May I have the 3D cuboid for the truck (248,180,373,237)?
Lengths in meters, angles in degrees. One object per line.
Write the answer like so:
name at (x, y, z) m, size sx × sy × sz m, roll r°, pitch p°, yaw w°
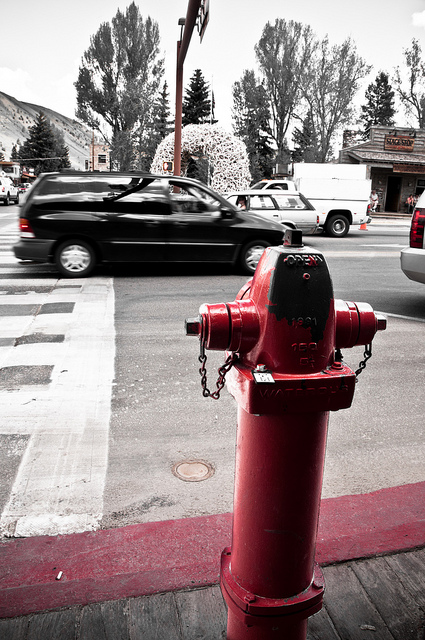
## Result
truck at (4.018, -4.436, 20.102) m, size 4.746 × 2.093 × 2.312 m, roll 0°, pitch 11°, yaw -6°

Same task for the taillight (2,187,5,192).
taillight at (-14.389, -8.967, 34.561) m, size 0.189 × 0.319 × 0.196 m, roll -13°, pitch 24°, yaw -38°

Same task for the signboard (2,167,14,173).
signboard at (-29.094, -21.399, 71.823) m, size 1.751 × 0.782 × 0.607 m, roll 2°, pitch 5°, yaw 14°

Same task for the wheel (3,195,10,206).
wheel at (-14.594, -8.447, 35.493) m, size 0.392 × 0.773 × 1.373 m, roll -2°, pitch 6°, yaw -25°

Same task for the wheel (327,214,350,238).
wheel at (4.812, -3.631, 19.366) m, size 0.724 × 0.742 × 0.258 m, roll -17°, pitch 14°, yaw -13°

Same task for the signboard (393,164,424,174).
signboard at (13.632, -10.517, 34.959) m, size 2.284 × 0.525 × 0.320 m, roll 0°, pitch 5°, yaw -7°

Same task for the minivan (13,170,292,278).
minivan at (-1.109, -1.834, 10.606) m, size 5.498 × 2.038 × 2.201 m, roll 0°, pitch 2°, yaw -5°

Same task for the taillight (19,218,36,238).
taillight at (-3.419, -1.688, 9.221) m, size 0.394 × 0.356 × 0.130 m, roll 4°, pitch 7°, yaw 37°
